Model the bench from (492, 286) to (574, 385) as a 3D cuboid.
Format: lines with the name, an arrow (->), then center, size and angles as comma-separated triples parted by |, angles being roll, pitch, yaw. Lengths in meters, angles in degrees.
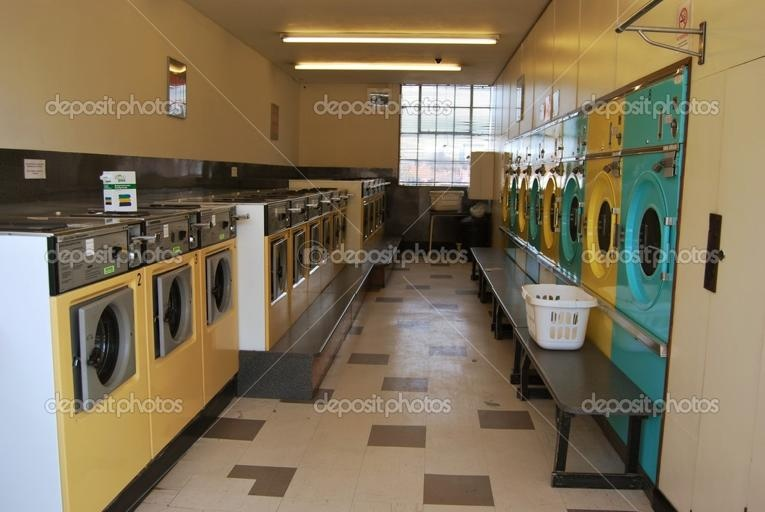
bench -> 1.346, 0.672, 4.113 | 0.562, 0.692, 0.926 | 3, -3, -2
